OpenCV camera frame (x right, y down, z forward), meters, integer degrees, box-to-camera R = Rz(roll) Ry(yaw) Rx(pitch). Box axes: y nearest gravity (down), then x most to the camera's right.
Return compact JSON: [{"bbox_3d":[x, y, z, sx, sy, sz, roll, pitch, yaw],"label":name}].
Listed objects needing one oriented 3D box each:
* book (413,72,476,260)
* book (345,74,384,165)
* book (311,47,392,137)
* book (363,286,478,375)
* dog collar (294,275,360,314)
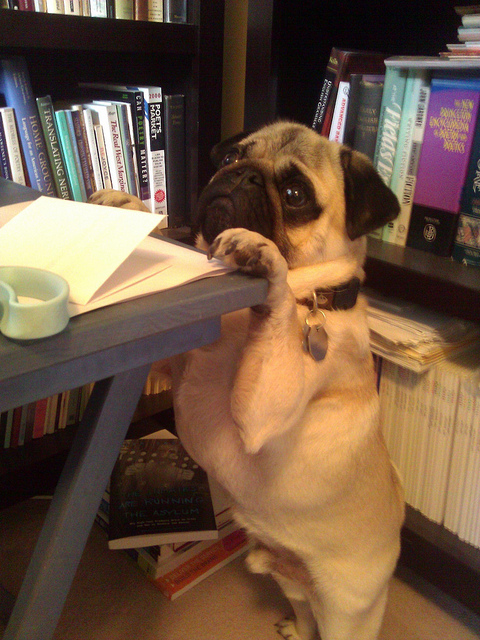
[{"bbox_3d":[0.446,-0.334,1.041,0.028,0.364,0.155,-10,33,-22],"label":"book"},{"bbox_3d":[0.304,-0.518,1.215,0.057,0.180,0.175,18,21,37],"label":"book"},{"bbox_3d":[0.278,-0.611,1.348,0.109,0.306,0.320,18,26,-1],"label":"book"},{"bbox_3d":[0.440,-0.011,1.088,0.240,0.061,0.242,-24,39,-32],"label":"book"},{"bbox_3d":[0.131,-0.052,0.700,0.076,0.040,0.063,-11,15,-24],"label":"dog collar"}]
